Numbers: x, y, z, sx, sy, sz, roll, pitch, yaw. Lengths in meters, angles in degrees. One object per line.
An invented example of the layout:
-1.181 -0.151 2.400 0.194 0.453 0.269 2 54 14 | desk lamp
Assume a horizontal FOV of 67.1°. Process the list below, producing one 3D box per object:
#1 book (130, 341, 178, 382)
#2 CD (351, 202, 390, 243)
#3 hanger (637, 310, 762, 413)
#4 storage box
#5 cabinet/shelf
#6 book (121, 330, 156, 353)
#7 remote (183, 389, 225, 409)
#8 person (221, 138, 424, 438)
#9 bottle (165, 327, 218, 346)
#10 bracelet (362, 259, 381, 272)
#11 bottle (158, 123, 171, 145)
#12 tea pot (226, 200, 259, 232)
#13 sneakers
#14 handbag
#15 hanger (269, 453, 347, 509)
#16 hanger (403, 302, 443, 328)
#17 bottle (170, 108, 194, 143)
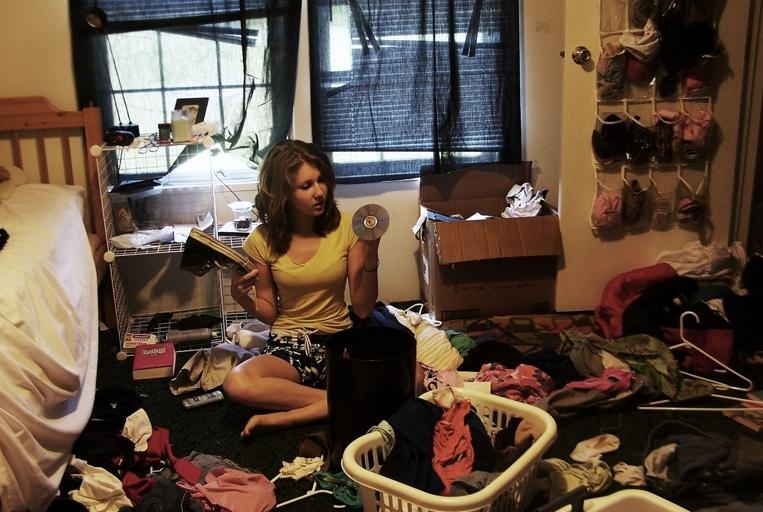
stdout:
-1.225 0.561 3.083 0.211 0.154 0.162 -8 15 -11 | book
-0.050 -0.138 2.497 0.157 0.168 0.080 1 15 22 | CD
1.469 0.545 2.846 0.353 0.317 0.626 0 -9 -34 | hanger
0.633 -0.115 3.535 0.808 0.837 0.637 -6 24 -11 | storage box
-1.286 -0.078 3.393 0.579 1.092 0.622 -6 15 -23 | cabinet/shelf
-1.361 0.465 3.224 0.142 0.039 0.120 0 51 -8 | book
-0.891 0.703 2.844 0.136 0.032 0.083 -13 13 -19 | remote
-0.373 0.132 2.691 0.819 1.220 0.691 -6 12 -23 | person
-1.099 0.463 3.322 0.291 0.084 0.121 -9 15 -14 | bottle
-0.054 0.034 2.686 0.071 0.061 0.126 -5 15 -3 | bracelet
-1.191 -0.671 3.151 0.071 0.107 0.070 -4 14 1 | bottle
-0.823 -0.251 3.370 0.192 0.184 0.201 1 21 -1 | tea pot
-0.767 -0.020 2.647 0.345 0.231 0.108 0 15 18 | sneakers
1.222 0.838 2.410 0.336 0.210 0.464 -7 6 29 | handbag
-0.309 0.925 2.343 0.295 0.104 0.225 -6 15 -6 | hanger
0.247 0.365 3.451 0.140 0.045 0.140 30 30 33 | hanger
-1.097 -0.709 3.141 0.115 0.169 0.098 -11 16 -24 | bottle
